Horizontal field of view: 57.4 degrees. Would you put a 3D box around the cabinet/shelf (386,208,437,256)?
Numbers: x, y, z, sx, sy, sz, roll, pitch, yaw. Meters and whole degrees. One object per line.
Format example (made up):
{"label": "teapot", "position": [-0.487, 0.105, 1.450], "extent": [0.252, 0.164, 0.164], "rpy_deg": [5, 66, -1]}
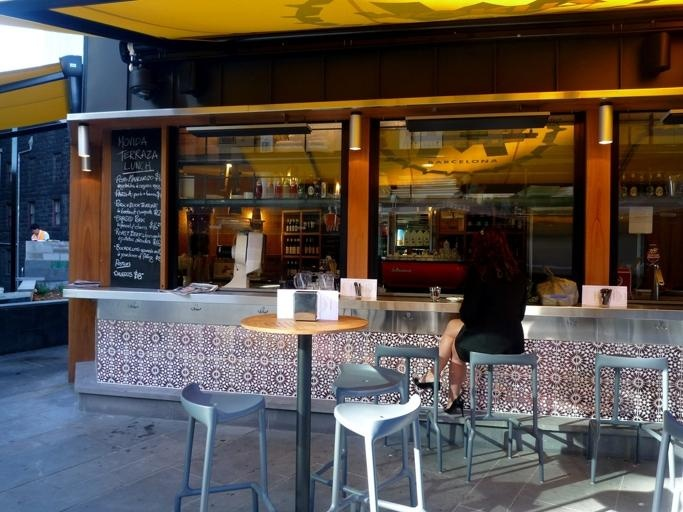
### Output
{"label": "cabinet/shelf", "position": [0.778, -0.272, 7.392], "extent": [0.639, 0.848, 0.445], "rpy_deg": [2, 4, 11]}

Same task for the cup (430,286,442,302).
{"label": "cup", "position": [0.961, 0.383, 6.276], "extent": [0.128, 0.133, 0.125], "rpy_deg": [1, -7, 0]}

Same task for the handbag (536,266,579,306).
{"label": "handbag", "position": [2.113, 0.286, 6.183], "extent": [0.400, 0.382, 0.412], "rpy_deg": [-17, -2, 8]}

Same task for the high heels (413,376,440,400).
{"label": "high heels", "position": [0.835, 1.261, 6.040], "extent": [0.138, 0.154, 0.378], "rpy_deg": [1, 5, -30]}

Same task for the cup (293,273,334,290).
{"label": "cup", "position": [-0.199, 0.218, 5.342], "extent": [0.190, 0.085, 0.243], "rpy_deg": [-1, -5, 27]}

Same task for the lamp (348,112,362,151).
{"label": "lamp", "position": [0.184, -1.277, 6.261], "extent": [0.145, 0.369, 0.144], "rpy_deg": [-2, 14, -7]}

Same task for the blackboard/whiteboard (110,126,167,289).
{"label": "blackboard/whiteboard", "position": [-2.272, -0.527, 6.931], "extent": [0.635, 1.745, 0.128], "rpy_deg": [-2, 3, 14]}

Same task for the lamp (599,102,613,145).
{"label": "lamp", "position": [2.495, -1.260, 5.905], "extent": [0.131, 0.369, 0.120], "rpy_deg": [-2, 3, 11]}

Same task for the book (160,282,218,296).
{"label": "book", "position": [-1.592, 0.347, 6.658], "extent": [0.549, 0.109, 0.380], "rpy_deg": [-3, 2, 4]}

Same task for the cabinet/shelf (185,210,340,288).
{"label": "cabinet/shelf", "position": [-1.010, -0.182, 7.610], "extent": [1.826, 1.109, 0.921], "rpy_deg": [1, 5, 5]}
